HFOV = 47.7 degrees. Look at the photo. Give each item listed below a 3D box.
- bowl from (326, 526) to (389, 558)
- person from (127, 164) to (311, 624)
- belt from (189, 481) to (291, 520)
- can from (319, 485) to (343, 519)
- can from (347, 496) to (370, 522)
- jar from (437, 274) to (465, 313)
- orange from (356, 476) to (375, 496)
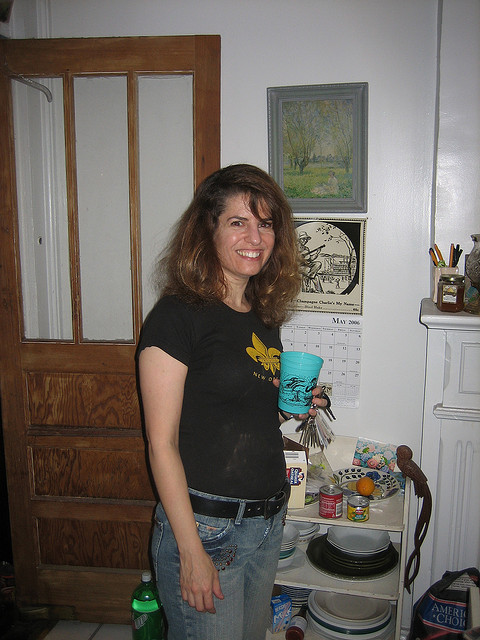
[{"bbox_3d":[0.384,0.727,1.760,0.173,0.033,0.165,4,-2,0],"label":"bowl"},{"bbox_3d":[-0.006,0.186,1.272,0.290,1.085,0.545,3,10,30],"label":"person"},{"bbox_3d":[0.015,0.408,1.262,0.228,0.047,0.214,1,-1,-22],"label":"belt"},{"bbox_3d":[0.275,0.558,1.659,0.087,0.088,0.084,-1,4,-14],"label":"can"},{"bbox_3d":[0.353,0.570,1.634,0.060,0.064,0.069,-1,8,5],"label":"can"},{"bbox_3d":[0.627,-0.078,1.619,0.075,0.111,0.075,-1,8,0],"label":"jar"},{"bbox_3d":[0.394,0.529,1.715,0.057,0.053,0.065,0,8,12],"label":"orange"}]
